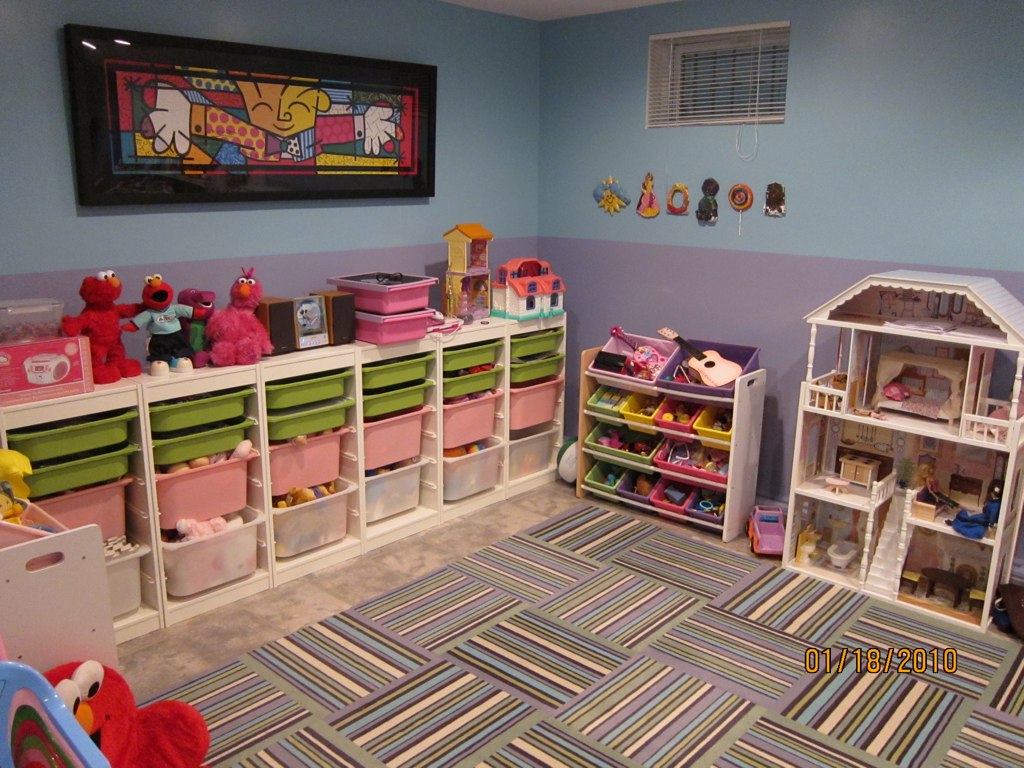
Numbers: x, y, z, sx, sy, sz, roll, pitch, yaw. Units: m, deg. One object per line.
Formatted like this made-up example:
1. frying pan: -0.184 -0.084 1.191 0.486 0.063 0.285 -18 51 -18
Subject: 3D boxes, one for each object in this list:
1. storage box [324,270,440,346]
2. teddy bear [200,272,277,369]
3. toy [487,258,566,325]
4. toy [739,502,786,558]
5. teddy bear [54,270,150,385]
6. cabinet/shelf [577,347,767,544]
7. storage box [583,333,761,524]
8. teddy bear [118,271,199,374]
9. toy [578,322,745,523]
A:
1. storage box: -0.658 -0.400 3.696 0.407 0.313 0.450 -14 20 -39
2. teddy bear: -1.254 -0.305 3.180 0.332 0.460 0.260 6 8 -12
3. toy: 0.083 -0.614 4.419 0.356 0.473 0.564 12 19 43
4. toy: 1.397 0.796 3.789 0.159 0.129 0.279 2 20 11
5. teddy bear: -1.742 -0.238 2.905 0.170 0.422 0.438 3 13 19
6. cabinet/shelf: 0.912 0.288 4.090 1.037 0.974 0.422 10 18 43
7. storage box: 0.948 0.259 3.972 0.936 0.910 0.395 12 15 38
8. teddy bear: -1.583 -0.257 3.071 0.176 0.448 0.396 5 14 41
9. toy: 0.889 0.243 4.003 0.992 0.966 0.393 12 15 39
